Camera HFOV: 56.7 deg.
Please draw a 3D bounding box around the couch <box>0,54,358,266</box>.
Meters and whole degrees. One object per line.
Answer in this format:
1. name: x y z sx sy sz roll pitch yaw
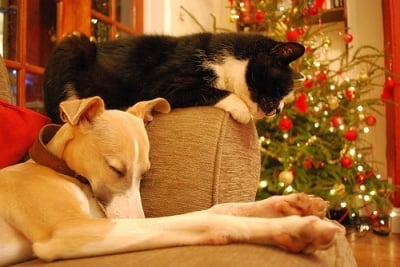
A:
1. couch: -0.110 0.173 2.127 1.233 0.971 1.179 3 -15 -21
